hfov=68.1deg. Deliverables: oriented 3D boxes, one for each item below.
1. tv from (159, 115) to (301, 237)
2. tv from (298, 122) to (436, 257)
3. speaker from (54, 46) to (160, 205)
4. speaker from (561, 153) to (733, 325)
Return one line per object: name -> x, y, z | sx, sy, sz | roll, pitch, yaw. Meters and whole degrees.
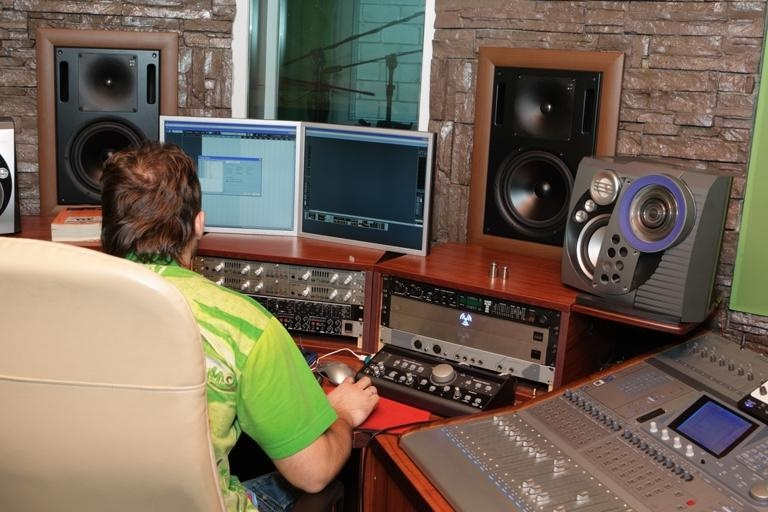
tv -> -0.610, -0.340, 2.278 | 0.543, 0.453, 0.043 | 2, 5, -3
tv -> -0.073, -0.283, 2.431 | 0.515, 0.445, 0.054 | 9, 9, 17
speaker -> -1.350, -0.635, 2.934 | 0.505, 0.752, 0.410 | 1, 5, -6
speaker -> 0.883, -0.083, 1.990 | 0.281, 0.501, 0.515 | -6, 18, -32
